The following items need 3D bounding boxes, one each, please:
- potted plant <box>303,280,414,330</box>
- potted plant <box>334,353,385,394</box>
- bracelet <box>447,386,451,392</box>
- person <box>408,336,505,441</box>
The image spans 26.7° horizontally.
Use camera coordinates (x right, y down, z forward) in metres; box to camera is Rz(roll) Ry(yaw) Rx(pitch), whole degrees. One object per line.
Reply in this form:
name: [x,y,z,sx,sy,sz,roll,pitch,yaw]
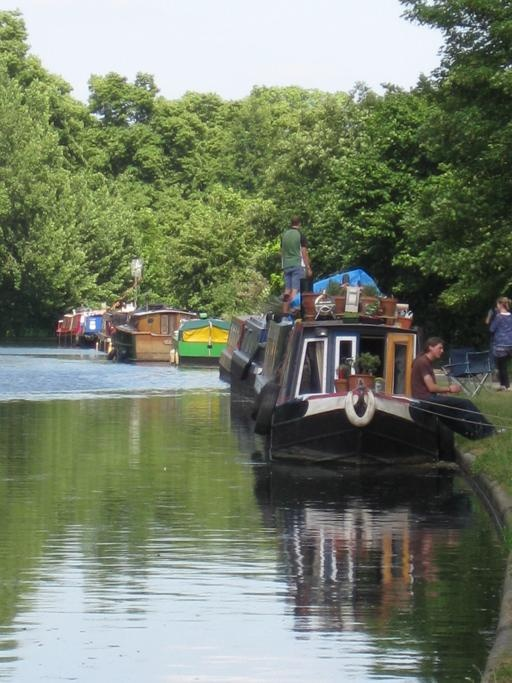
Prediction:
potted plant: [1.444,-0.545,16.723,1.224,0.456,0.881,1,0,41]
potted plant: [1.476,0.460,15.449,0.496,0.648,0.635,1,-8,2]
bracelet: [2.586,0.632,14.373,0.014,0.054,0.055,12,-4,-37]
person: [2.653,0.644,14.708,1.050,1.375,0.793,1,-2,8]
